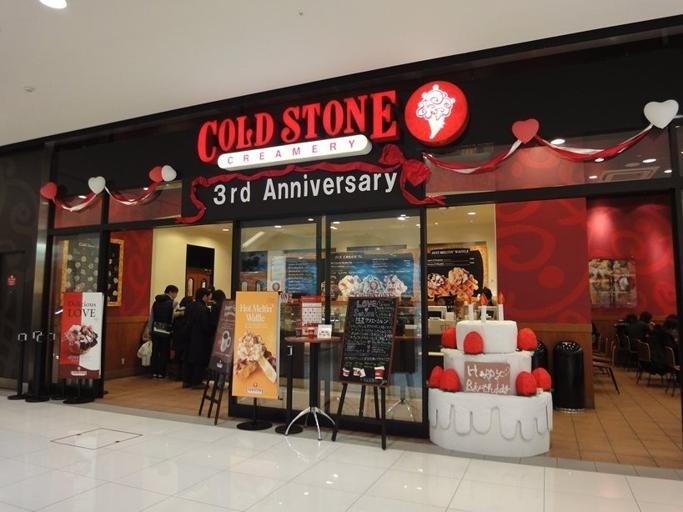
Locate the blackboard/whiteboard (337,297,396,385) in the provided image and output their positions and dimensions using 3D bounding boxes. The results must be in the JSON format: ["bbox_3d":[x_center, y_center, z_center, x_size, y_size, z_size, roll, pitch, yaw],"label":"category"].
[{"bbox_3d":[0.326,1.019,5.889,0.633,1.025,0.318,0,-1,26],"label":"blackboard/whiteboard"}]

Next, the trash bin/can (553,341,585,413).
[{"bbox_3d":[3.439,1.810,7.307,0.423,0.967,0.296,0,-1,22],"label":"trash bin/can"}]

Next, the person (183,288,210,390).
[{"bbox_3d":[-2.573,1.456,8.585,0.432,1.736,0.444,1,-1,-18],"label":"person"}]

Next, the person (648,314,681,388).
[{"bbox_3d":[6.023,1.790,9.012,0.432,1.243,1.990,-1,-1,34],"label":"person"}]
